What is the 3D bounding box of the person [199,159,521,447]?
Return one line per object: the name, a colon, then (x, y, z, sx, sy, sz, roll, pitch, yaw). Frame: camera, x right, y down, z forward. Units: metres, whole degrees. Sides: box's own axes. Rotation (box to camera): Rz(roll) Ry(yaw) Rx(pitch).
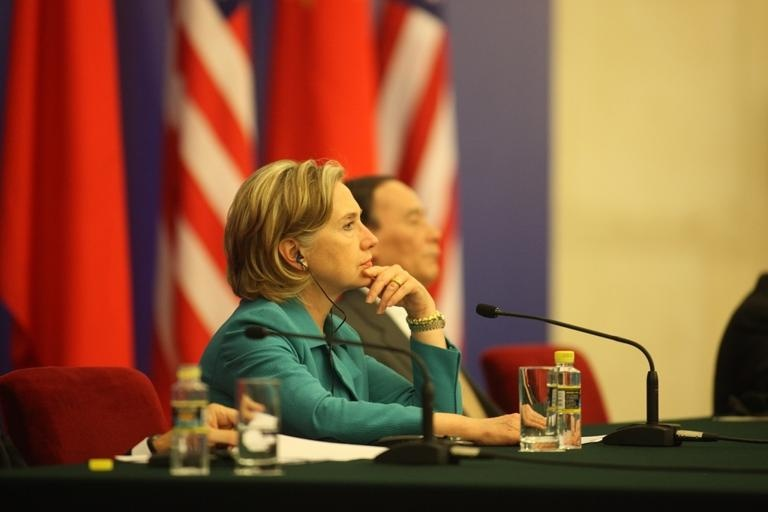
person: (-0.073, 0.220, 3.726, 1.125, 1.166, 0.789, -6, -8, 9)
